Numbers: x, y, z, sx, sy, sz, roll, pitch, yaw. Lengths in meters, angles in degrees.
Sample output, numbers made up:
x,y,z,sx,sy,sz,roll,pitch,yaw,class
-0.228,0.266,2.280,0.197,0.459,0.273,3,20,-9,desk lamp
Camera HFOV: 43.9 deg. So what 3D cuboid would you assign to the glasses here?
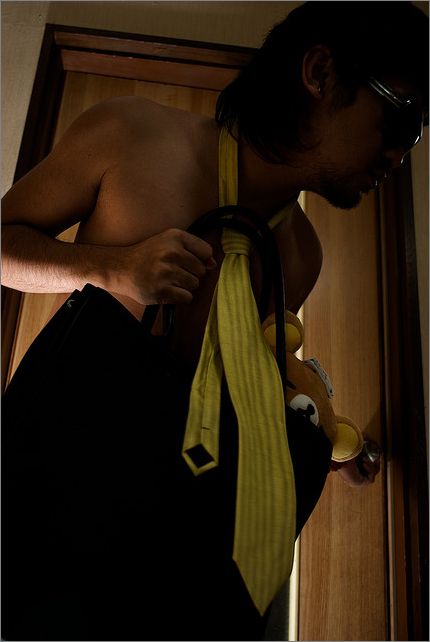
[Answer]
x,y,z,sx,sy,sz,roll,pitch,yaw,class
0.245,-0.285,0.765,0.078,0.030,0.091,28,45,-33,glasses
